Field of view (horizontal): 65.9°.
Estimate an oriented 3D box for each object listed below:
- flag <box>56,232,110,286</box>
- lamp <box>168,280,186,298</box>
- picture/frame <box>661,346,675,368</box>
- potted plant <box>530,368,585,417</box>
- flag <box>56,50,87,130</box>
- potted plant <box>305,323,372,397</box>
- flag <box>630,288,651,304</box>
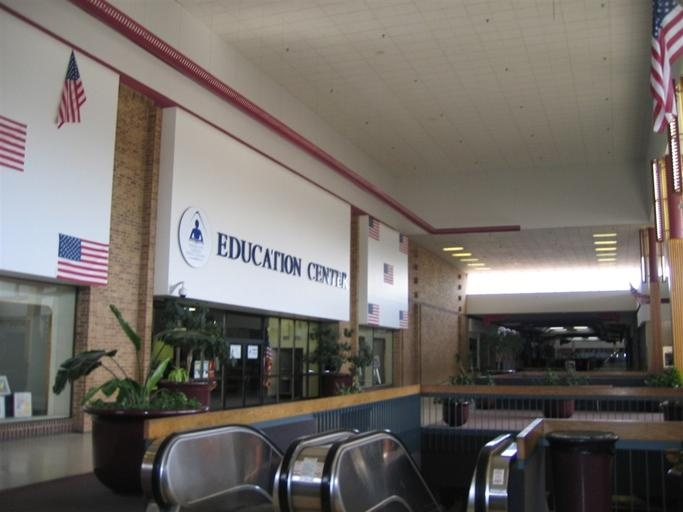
[{"bbox_3d":[-4.409,0.057,8.914,0.037,0.593,0.828,-6,-10,21],"label":"flag"},{"bbox_3d":[-3.266,0.641,10.508,0.318,0.310,0.356,4,-12,-19],"label":"lamp"},{"bbox_3d":[13.506,4.166,21.798,0.346,0.927,2.860,-7,-14,30],"label":"picture/frame"},{"bbox_3d":[5.808,3.702,14.136,1.107,2.143,1.406,-2,-6,20],"label":"potted plant"},{"bbox_3d":[-4.483,-2.742,8.765,0.221,1.368,0.392,-10,-15,42],"label":"flag"},{"bbox_3d":[0.300,3.406,17.241,1.786,3.022,2.514,-9,-15,40],"label":"potted plant"},{"bbox_3d":[12.736,1.644,22.493,0.595,0.821,1.654,-7,-14,29],"label":"flag"}]
